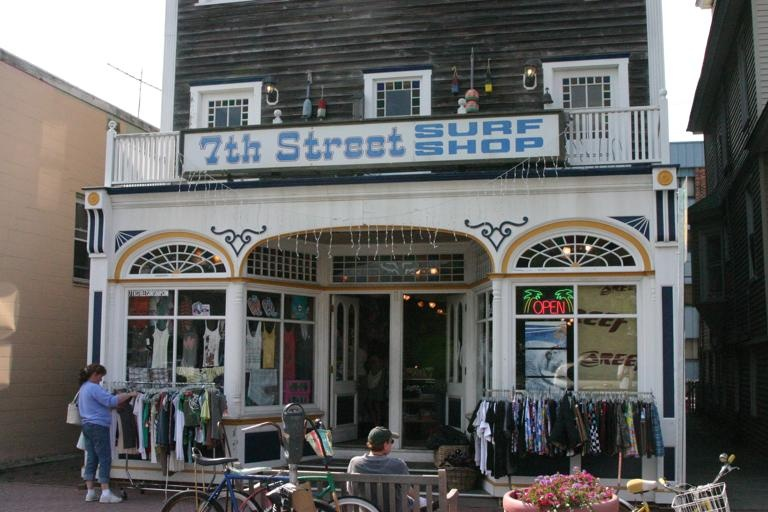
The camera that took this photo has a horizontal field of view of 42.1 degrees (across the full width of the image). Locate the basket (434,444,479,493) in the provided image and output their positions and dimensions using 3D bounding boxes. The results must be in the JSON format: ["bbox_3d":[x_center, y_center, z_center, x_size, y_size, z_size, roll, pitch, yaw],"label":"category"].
[{"bbox_3d":[1.447,4.170,19.663,1.048,0.845,1.082,2,0,13],"label":"basket"}]

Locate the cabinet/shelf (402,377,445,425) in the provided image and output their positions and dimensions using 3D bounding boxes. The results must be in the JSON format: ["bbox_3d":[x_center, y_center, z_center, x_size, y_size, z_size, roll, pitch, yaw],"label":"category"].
[{"bbox_3d":[0.906,3.206,22.118,0.813,1.010,0.760,-2,-2,18],"label":"cabinet/shelf"}]

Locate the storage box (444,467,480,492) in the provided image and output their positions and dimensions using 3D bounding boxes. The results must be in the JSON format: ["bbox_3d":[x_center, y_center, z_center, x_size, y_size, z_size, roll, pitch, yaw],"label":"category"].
[{"bbox_3d":[1.495,4.322,19.354,0.617,0.390,0.633,-4,-17,13],"label":"storage box"}]

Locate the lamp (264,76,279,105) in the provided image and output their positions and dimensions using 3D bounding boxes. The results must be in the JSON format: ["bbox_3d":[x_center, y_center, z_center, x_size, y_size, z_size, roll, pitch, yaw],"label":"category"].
[{"bbox_3d":[-2.589,-3.691,22.493,0.372,0.605,0.265,-1,-10,4],"label":"lamp"}]

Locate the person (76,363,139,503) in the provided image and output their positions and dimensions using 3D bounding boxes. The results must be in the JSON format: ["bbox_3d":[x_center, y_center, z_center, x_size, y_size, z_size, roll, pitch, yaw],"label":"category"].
[{"bbox_3d":[-5.379,3.345,19.167,0.931,2.561,0.942,1,-3,-20],"label":"person"}]
